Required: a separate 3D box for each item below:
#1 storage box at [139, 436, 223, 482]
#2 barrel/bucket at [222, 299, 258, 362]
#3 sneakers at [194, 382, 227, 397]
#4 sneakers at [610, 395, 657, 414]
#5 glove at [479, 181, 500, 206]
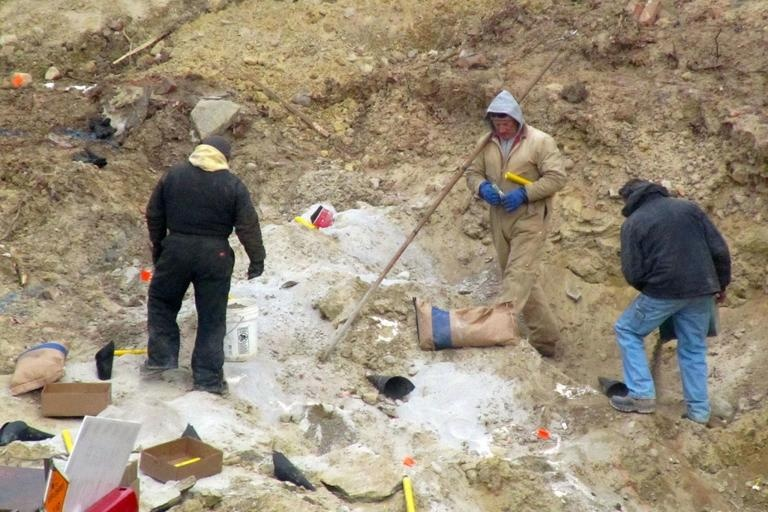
[{"bbox_3d":[-2.205,2.219,12.085,0.722,0.239,0.736,-4,11,-35],"label":"storage box"},{"bbox_3d":[-1.762,0.892,13.632,0.642,0.653,0.612,1,10,0],"label":"barrel/bucket"},{"bbox_3d":[-2.006,1.547,12.996,0.321,0.145,0.167,6,-4,-13],"label":"sneakers"},{"bbox_3d":[2.909,1.746,13.222,0.485,0.239,0.207,6,7,18],"label":"sneakers"},{"bbox_3d":[1.375,-0.803,14.264,0.124,0.293,0.246,-40,25,-13],"label":"glove"}]
